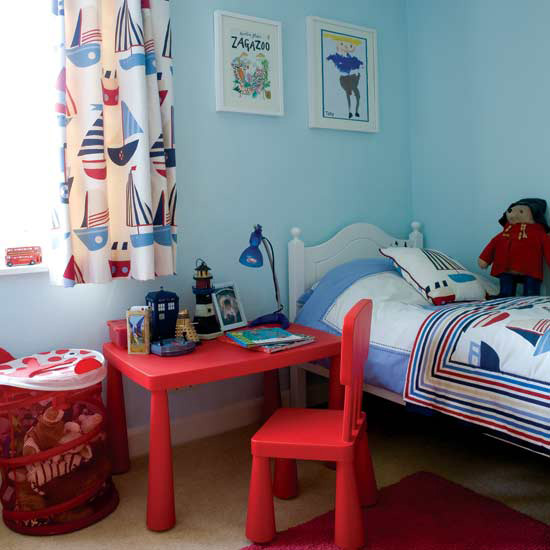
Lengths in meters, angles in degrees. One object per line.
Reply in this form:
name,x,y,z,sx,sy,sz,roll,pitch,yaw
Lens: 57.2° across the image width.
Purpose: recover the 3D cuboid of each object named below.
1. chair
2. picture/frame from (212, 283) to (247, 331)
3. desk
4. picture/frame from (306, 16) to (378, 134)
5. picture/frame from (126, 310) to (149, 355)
chair,0.107,0.423,2.004,0.579,1.159,0.655,2,4,15
picture/frame,-0.206,0.145,2.211,0.017,0.193,0.161,-21,-1,34
desk,-0.289,0.318,1.957,0.890,0.643,0.606,-4,5,-34
picture/frame,0.346,-1.090,2.728,0.578,0.756,0.049,-8,10,-40
picture/frame,-0.531,0.206,1.865,0.079,0.144,0.088,3,-7,27
